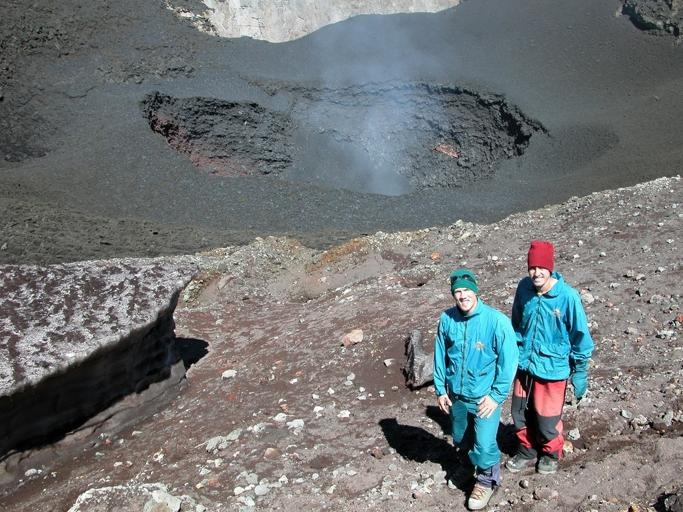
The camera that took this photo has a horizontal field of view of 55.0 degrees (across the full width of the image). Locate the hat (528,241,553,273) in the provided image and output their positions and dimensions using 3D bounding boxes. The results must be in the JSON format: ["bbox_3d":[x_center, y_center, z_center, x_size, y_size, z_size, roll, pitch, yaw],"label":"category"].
[{"bbox_3d":[2.600,0.008,8.511,0.318,0.513,0.341,4,46,14],"label":"hat"}]

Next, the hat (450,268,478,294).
[{"bbox_3d":[1.585,0.307,8.454,0.325,0.388,0.269,-4,75,11],"label":"hat"}]
